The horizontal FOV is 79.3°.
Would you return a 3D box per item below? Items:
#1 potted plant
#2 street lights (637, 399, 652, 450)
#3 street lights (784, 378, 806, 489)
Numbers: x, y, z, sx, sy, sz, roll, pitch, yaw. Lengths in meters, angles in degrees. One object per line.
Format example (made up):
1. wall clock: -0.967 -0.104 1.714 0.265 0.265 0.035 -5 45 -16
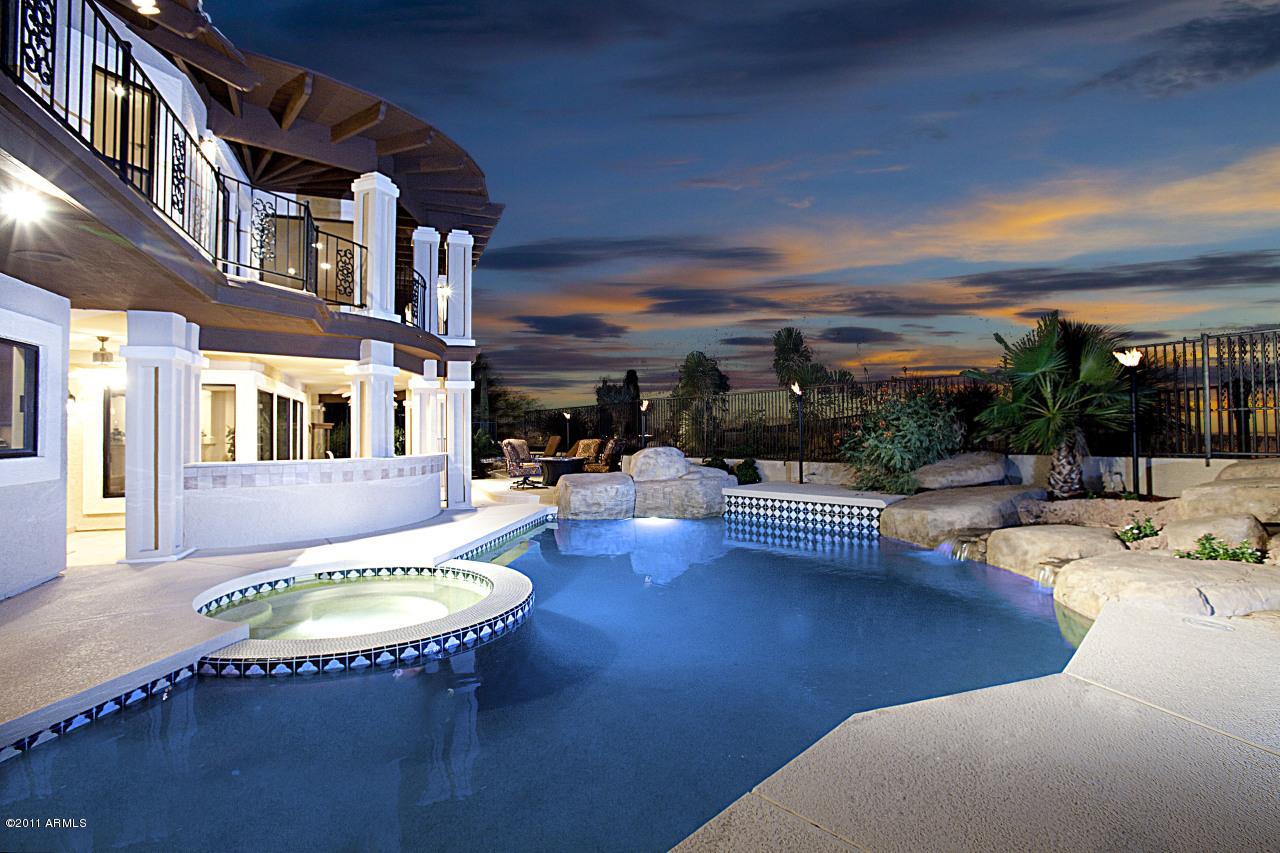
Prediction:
1. potted plant: 7.533 -0.377 14.111 2.407 3.492 1.228 -4 -2 24
2. street lights: 0.114 -0.104 27.355 0.300 1.345 0.927 -3 -2 -21
3. street lights: 4.107 0.181 20.402 0.388 2.376 0.727 -3 -1 10
